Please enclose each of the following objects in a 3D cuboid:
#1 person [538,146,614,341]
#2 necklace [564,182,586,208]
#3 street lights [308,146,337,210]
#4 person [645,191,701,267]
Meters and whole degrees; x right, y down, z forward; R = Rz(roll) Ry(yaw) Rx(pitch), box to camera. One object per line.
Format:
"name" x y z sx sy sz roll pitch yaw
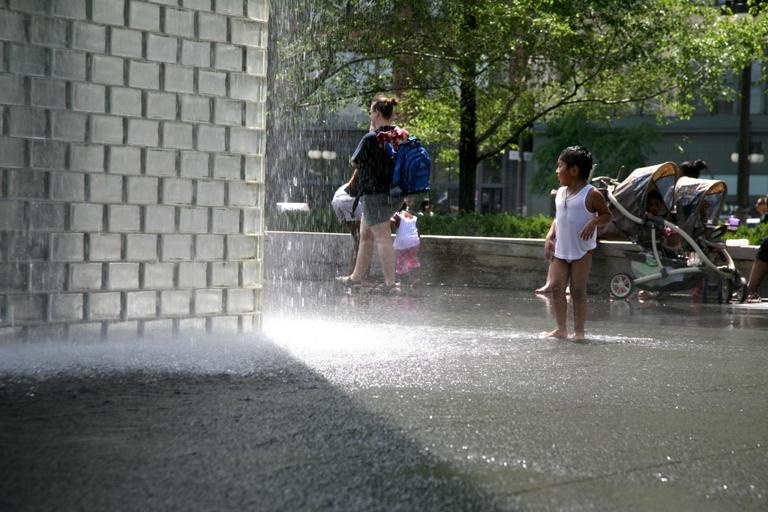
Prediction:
"person" 1.801 -0.115 6.935 0.551 1.817 0.576 6 8 26
"necklace" 1.793 -0.565 6.982 0.303 0.240 0.154 6 8 23
"street lights" -2.242 -2.515 25.079 0.782 2.216 0.831 6 15 8
"person" 4.293 -0.479 11.472 1.041 1.134 0.783 3 7 7
